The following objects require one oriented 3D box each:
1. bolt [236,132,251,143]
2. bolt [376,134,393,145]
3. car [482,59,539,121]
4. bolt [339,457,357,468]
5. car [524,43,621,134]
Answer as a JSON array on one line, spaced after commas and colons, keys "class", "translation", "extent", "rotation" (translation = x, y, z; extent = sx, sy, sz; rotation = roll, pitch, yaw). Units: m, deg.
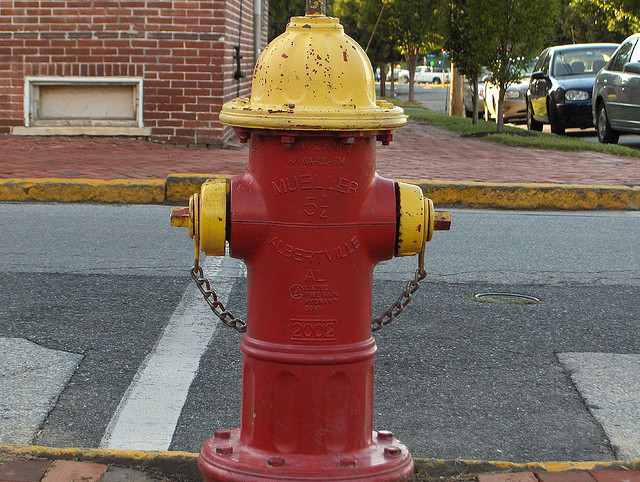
[{"class": "bolt", "translation": [-0.417, -0.563, 6.380], "extent": [0.059, 0.070, 0.057], "rotation": [-2, 3, -45]}, {"class": "bolt", "translation": [0.378, -0.554, 6.437], "extent": [0.059, 0.079, 0.059], "rotation": [-4, 1, 13]}, {"class": "car", "translation": [3.770, -3.032, 23.624], "extent": [0.888, 0.749, 1.945], "rotation": [0, 1, -4]}, {"class": "bolt", "translation": [0.163, 1.224, 6.305], "extent": [0.066, 0.051, 0.050], "rotation": [1, -5, 0]}, {"class": "car", "translation": [4.494, -2.730, 20.557], "extent": [1.093, 1.143, 2.549], "rotation": [0, 2, -2]}]
